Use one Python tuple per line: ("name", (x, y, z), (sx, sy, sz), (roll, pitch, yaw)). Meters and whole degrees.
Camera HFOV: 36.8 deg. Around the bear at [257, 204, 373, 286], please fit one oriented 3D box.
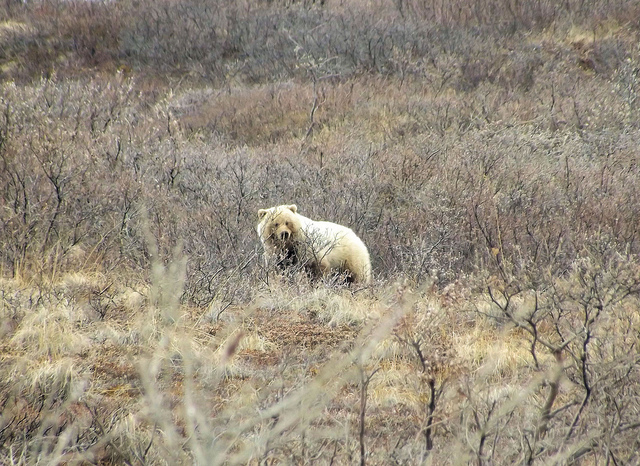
("bear", (-0.116, 0.319, 22.937), (2.586, 1.993, 1.487), (5, 5, 4))
